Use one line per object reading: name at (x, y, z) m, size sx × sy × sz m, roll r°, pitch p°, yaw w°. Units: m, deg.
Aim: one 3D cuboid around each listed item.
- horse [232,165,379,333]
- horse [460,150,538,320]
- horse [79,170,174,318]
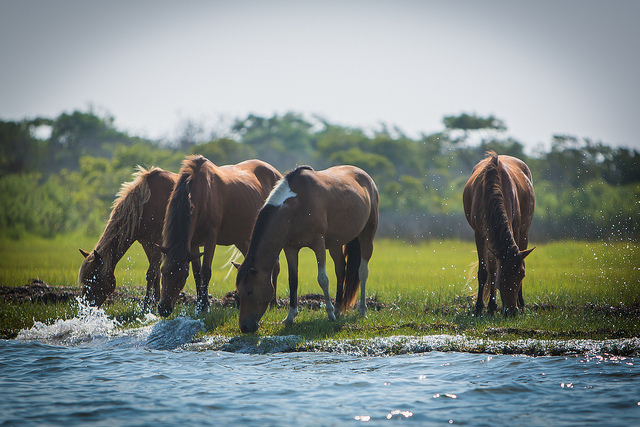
horse at (-0.514, 1.147, 37.039) m, size 4.424 × 6.344 × 8.755 m, roll 2°, pitch -2°, yaw -10°
horse at (6.734, 0.599, 36.032) m, size 1.929 × 5.203 × 4.981 m, roll 0°, pitch -3°, yaw 14°
horse at (-7.117, 1.116, 37.170) m, size 2.981 × 5.469 × 5.470 m, roll 2°, pitch -6°, yaw -3°
